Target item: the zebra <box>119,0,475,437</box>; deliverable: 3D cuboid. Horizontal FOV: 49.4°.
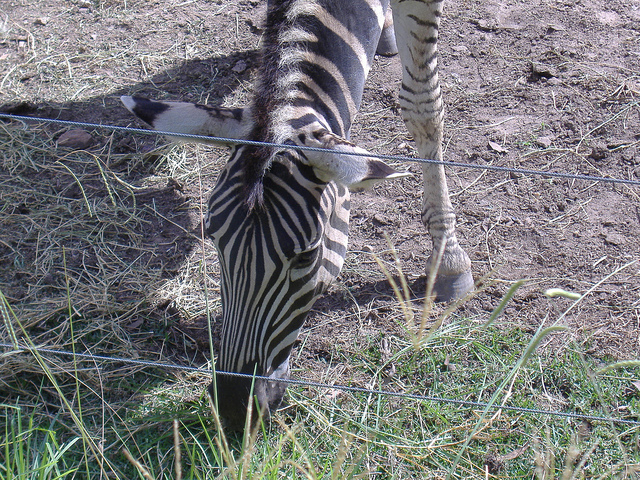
[{"bbox_3d":[-0.124,-0.038,4.727,1.527,2.133,3.141,7,74,20],"label":"zebra"}]
